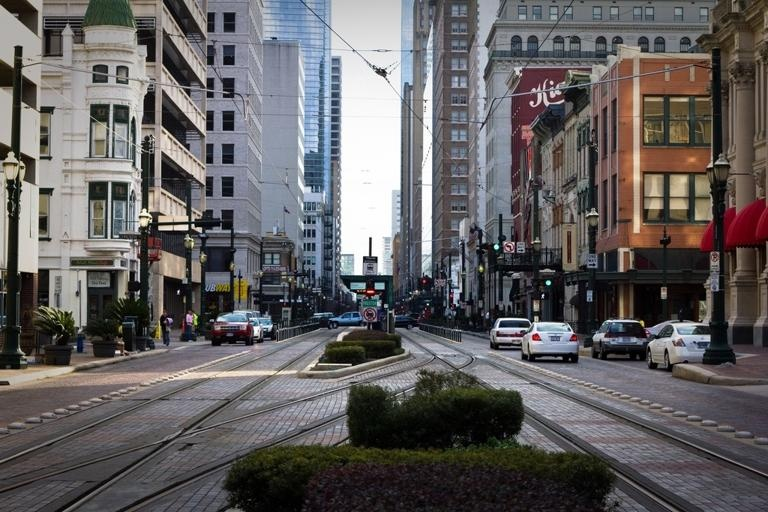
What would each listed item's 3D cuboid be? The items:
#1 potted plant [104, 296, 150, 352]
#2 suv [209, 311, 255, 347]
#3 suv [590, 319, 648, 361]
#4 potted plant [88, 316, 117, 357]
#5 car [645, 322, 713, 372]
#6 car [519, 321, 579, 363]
[{"bbox_3d":[-11.981,2.960,48.334,1.343,2.924,1.444,-1,-2,-44],"label":"potted plant"},{"bbox_3d":[-8.861,4.247,59.480,2.344,2.004,2.114,-1,-5,-12],"label":"suv"},{"bbox_3d":[10.599,3.757,45.698,2.323,1.817,2.204,-3,-5,15],"label":"suv"},{"bbox_3d":[-12.304,3.616,44.735,1.583,1.816,1.633,0,-3,34],"label":"potted plant"},{"bbox_3d":[11.186,3.410,38.624,1.560,1.538,3.917,0,-2,6],"label":"car"},{"bbox_3d":[7.078,3.723,43.576,2.260,1.747,1.334,-3,-4,13],"label":"car"}]
